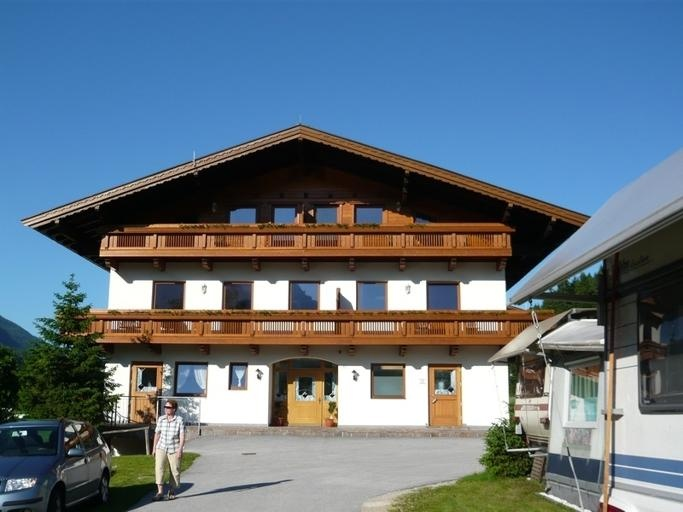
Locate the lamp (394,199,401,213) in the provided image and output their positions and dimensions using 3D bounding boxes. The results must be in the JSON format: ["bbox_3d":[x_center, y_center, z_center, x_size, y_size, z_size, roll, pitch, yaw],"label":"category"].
[{"bbox_3d":[2.817,-2.518,35.313,0.294,0.571,0.136,1,3,10],"label":"lamp"}]

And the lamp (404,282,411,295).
[{"bbox_3d":[3.204,1.533,33.974,0.352,0.553,0.106,3,-17,-10],"label":"lamp"}]

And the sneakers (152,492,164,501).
[{"bbox_3d":[-4.076,5.310,15.541,0.240,0.102,0.131,-7,-16,44],"label":"sneakers"}]

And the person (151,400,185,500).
[{"bbox_3d":[-3.878,4.354,15.762,0.644,2.112,1.313,4,-17,-14],"label":"person"}]

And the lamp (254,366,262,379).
[{"bbox_3d":[-3.920,5.588,33.431,0.267,0.429,0.221,-1,-2,-5],"label":"lamp"}]

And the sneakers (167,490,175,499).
[{"bbox_3d":[-3.809,5.344,15.727,0.150,0.092,0.187,14,12,-9],"label":"sneakers"}]

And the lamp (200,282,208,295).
[{"bbox_3d":[-6.706,1.550,34.403,0.296,0.561,0.089,3,-16,-9],"label":"lamp"}]

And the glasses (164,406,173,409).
[{"bbox_3d":[-3.829,3.322,15.532,0.109,0.075,0.245,15,-23,-41],"label":"glasses"}]
